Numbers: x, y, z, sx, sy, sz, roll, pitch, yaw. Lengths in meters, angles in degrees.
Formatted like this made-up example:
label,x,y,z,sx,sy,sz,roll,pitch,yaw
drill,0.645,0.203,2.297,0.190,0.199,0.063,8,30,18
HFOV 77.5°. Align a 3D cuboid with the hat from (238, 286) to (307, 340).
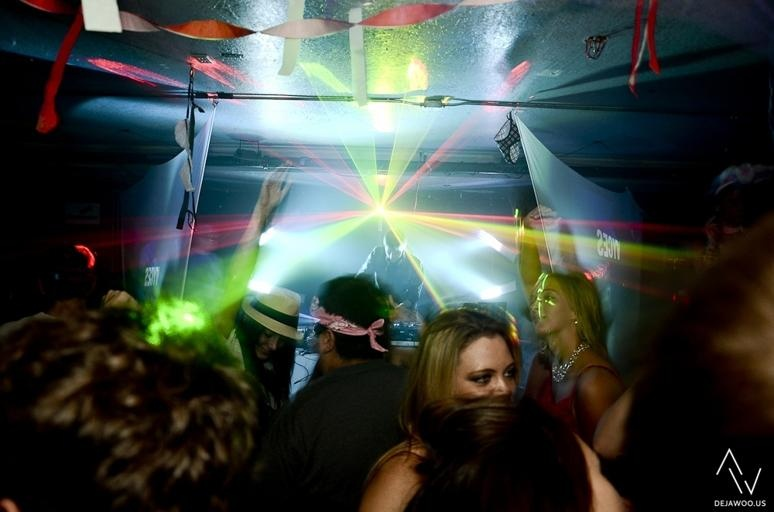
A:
label,x,y,z,sx,sy,sz,roll,pitch,yaw
hat,-0.860,0.418,3.592,0.374,0.157,0.414,30,-5,7
